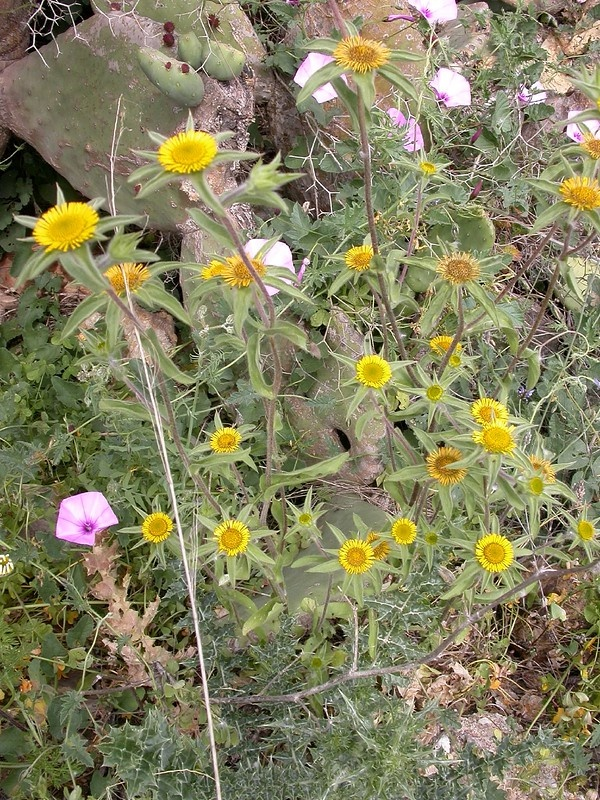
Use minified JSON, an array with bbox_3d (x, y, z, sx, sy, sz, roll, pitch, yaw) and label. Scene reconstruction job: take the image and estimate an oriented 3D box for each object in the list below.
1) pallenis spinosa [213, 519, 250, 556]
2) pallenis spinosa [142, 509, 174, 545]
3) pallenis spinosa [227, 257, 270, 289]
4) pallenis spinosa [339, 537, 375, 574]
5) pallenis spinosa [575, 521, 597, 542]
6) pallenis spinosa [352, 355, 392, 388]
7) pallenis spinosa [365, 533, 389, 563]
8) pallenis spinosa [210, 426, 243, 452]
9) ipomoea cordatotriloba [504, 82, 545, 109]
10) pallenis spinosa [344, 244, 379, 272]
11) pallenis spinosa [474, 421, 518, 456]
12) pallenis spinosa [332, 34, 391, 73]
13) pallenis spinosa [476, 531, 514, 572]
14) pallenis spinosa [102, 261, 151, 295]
[{"bbox_3d":[-0.126,0.256,1.287,0.067,0.061,0.066,-25,66,-20],"label":"pallenis spinosa"},{"bbox_3d":[-0.279,0.249,1.352,0.063,0.076,0.063,-2,61,-9],"label":"pallenis spinosa"},{"bbox_3d":[-0.074,-0.199,1.108,0.074,0.024,0.064,-10,60,-5],"label":"pallenis spinosa"},{"bbox_3d":[0.106,0.289,1.284,0.075,0.059,0.064,-10,62,-13],"label":"pallenis spinosa"},{"bbox_3d":[0.534,0.242,1.296,0.044,0.009,0.037,3,89,6],"label":"pallenis spinosa"},{"bbox_3d":[0.129,-0.051,1.234,0.062,0.044,0.061,18,59,3],"label":"pallenis spinosa"},{"bbox_3d":[0.157,0.288,1.367,0.059,0.051,0.018,-1,17,-8],"label":"pallenis spinosa"},{"bbox_3d":[-0.144,0.077,1.311,0.053,0.016,0.049,24,60,17],"label":"pallenis spinosa"},{"bbox_3d":[0.721,-0.940,2.145,0.090,0.069,0.073,-37,71,-25],"label":"ipomoea cordatotriloba"},{"bbox_3d":[0.116,-0.271,1.332,0.058,0.021,0.049,-2,82,9],"label":"pallenis spinosa"},{"bbox_3d":[0.325,0.064,1.146,0.063,0.020,0.054,-9,51,-3],"label":"pallenis spinosa"},{"bbox_3d":[0.093,-0.518,1.045,0.085,0.037,0.089,13,58,0],"label":"pallenis spinosa"},{"bbox_3d":[0.365,0.281,1.297,0.076,0.021,0.064,1,65,-14],"label":"pallenis spinosa"},{"bbox_3d":[-0.275,-0.196,1.106,0.077,0.025,0.068,-11,45,-6],"label":"pallenis spinosa"}]
